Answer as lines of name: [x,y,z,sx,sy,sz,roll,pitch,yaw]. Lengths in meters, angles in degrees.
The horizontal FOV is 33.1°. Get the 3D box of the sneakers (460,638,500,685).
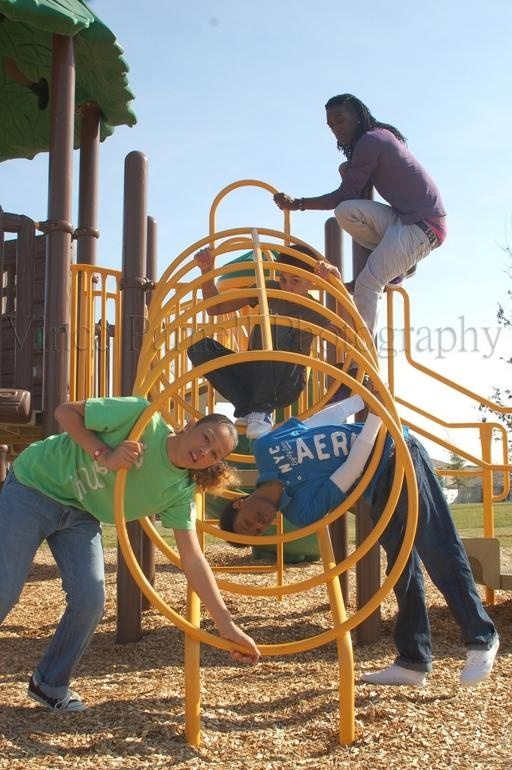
sneakers: [0.841,1.060,3.287,0.114,0.167,0.144,-1,-3,24]

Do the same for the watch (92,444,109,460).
watch: [-0.489,0.212,2.707,0.048,0.035,0.046,-29,-18,10]

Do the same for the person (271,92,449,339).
person: [0.584,-0.868,4.389,0.713,1.270,0.432,2,-3,-25]
